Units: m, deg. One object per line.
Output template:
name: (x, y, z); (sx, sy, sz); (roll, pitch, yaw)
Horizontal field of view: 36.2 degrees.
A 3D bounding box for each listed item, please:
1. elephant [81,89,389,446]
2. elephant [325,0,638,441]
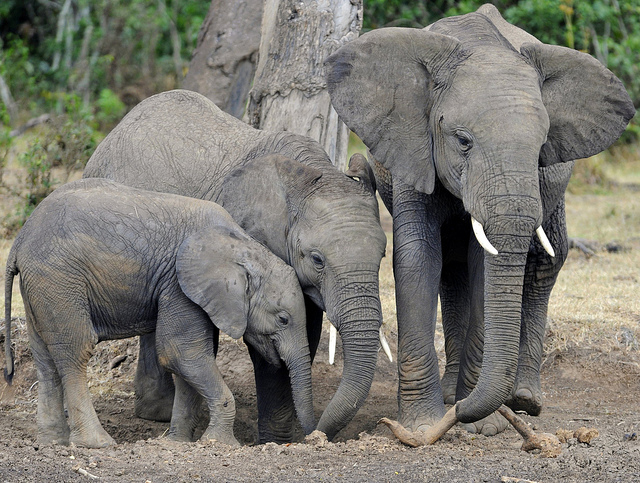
elephant: (-0.711, 0.259, 7.526); (2.695, 2.581, 1.228); (13, 16, 31)
elephant: (1.021, -0.150, 6.920); (1.510, 2.973, 1.802); (9, 15, 43)
